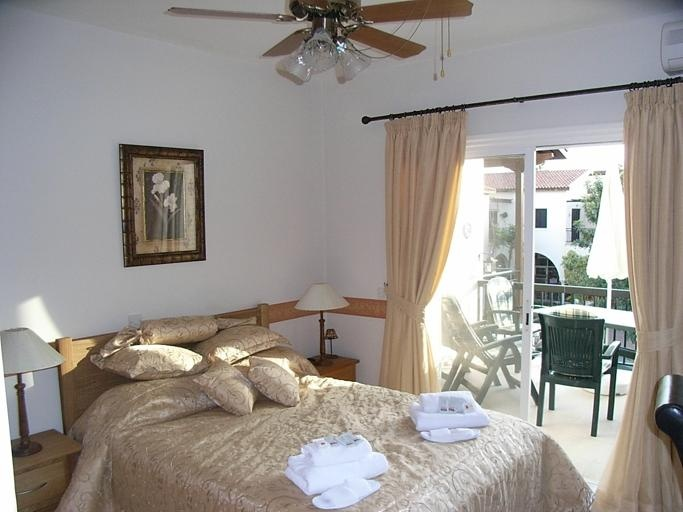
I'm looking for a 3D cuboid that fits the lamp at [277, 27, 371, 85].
[{"bbox_3d":[-0.083,-1.018,2.620,0.492,0.221,0.301,-7,13,-34],"label":"lamp"}]

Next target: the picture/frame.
[{"bbox_3d":[-1.550,-0.440,4.268,0.101,1.245,0.982,5,7,44],"label":"picture/frame"}]

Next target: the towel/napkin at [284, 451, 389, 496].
[{"bbox_3d":[-0.038,1.226,2.871,0.316,0.100,0.256,-4,3,-28],"label":"towel/napkin"}]
